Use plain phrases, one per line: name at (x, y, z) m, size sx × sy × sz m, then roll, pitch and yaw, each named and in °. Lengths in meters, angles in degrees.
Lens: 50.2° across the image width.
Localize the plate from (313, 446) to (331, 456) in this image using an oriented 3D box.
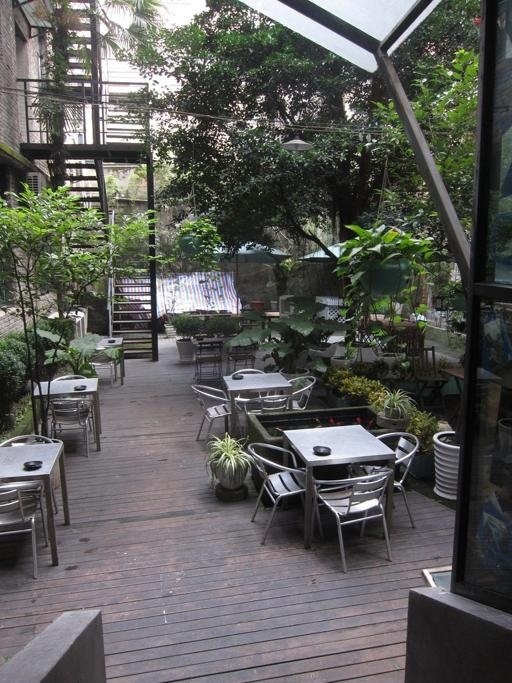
plate at (0.515, 0.865, 4.299) m, size 0.137 × 0.033 × 0.160 m, roll 0°, pitch 8°, yaw 5°

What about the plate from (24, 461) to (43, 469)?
plate at (-1.662, 0.915, 4.051) m, size 0.121 × 0.035 × 0.147 m, roll -2°, pitch 9°, yaw -15°

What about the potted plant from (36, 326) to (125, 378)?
potted plant at (-2.870, 0.167, 9.101) m, size 1.401 × 0.700 × 1.192 m, roll 2°, pitch 4°, yaw -13°

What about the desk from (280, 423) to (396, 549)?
desk at (0.772, 1.216, 4.475) m, size 0.958 × 0.654 × 0.907 m, roll -2°, pitch -3°, yaw -24°

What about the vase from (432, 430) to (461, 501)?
vase at (1.833, 1.202, 5.329) m, size 0.227 × 0.678 × 0.513 m, roll 3°, pitch 10°, yaw 18°
